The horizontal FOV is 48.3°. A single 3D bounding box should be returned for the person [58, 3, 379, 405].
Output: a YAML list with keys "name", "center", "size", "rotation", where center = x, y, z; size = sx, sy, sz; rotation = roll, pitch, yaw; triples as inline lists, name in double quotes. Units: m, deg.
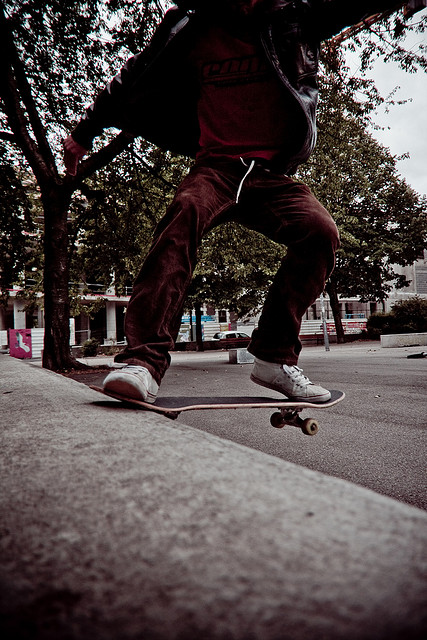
- name: "person"
  center: [0.025, -0.559, 2.156]
  size: [1.196, 1.816, 0.901]
  rotation: [6, -4, -9]

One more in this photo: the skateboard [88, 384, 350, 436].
- name: "skateboard"
  center: [0.103, 0.419, 2.168]
  size: [1.421, 0.241, 0.389]
  rotation: [5, -3, -25]
